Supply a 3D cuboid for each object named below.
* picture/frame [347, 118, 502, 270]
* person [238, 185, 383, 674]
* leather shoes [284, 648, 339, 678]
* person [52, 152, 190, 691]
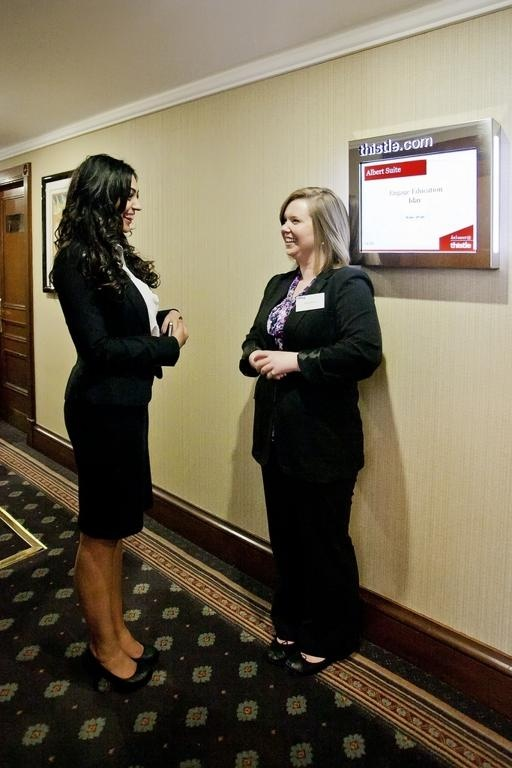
[{"bbox_3d":[0.536,-0.593,1.700,0.057,0.404,0.510,-9,12,-44],"label":"picture/frame"},{"bbox_3d":[0.170,0.167,1.869,0.546,1.629,0.374,5,10,32],"label":"person"},{"bbox_3d":[0.172,0.949,1.902,0.140,0.038,0.065,0,2,-25],"label":"leather shoes"},{"bbox_3d":[-0.423,0.152,1.761,0.420,1.677,0.389,-6,10,-36],"label":"person"}]
